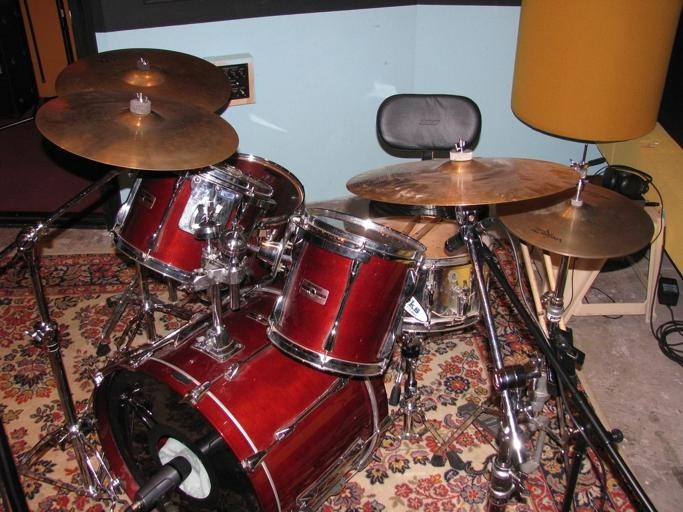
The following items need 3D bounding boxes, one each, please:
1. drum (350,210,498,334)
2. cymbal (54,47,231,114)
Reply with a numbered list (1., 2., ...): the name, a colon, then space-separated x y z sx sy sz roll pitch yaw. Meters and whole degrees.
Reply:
1. drum: 0.355 0.124 2.309 0.576 0.333 0.542 3 33 -2
2. cymbal: -0.881 -0.838 2.407 0.522 0.114 0.496 1 48 -25
